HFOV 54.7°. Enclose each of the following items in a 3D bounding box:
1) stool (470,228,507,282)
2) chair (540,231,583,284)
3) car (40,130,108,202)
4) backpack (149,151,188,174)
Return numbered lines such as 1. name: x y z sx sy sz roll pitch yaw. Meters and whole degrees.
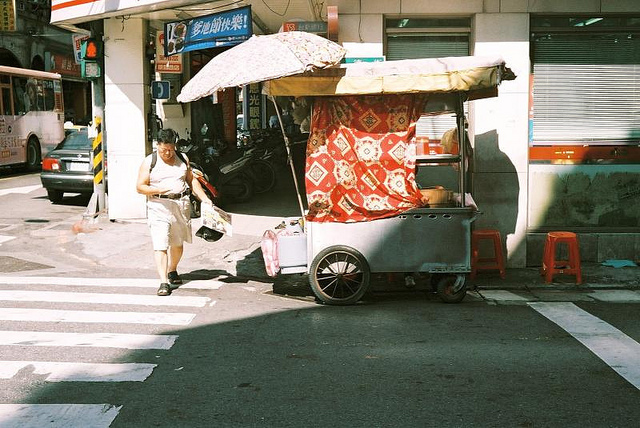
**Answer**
1. stool: 2.943 0.668 10.893 0.897 1.078 0.843 -1 -1 6
2. chair: 4.070 0.745 10.481 0.782 0.749 0.748 3 3 -18
3. car: -6.471 -1.386 18.808 2.444 1.730 3.908 2 3 1
4. backpack: -2.285 -0.822 9.234 0.309 0.356 0.336 -1 27 -4
